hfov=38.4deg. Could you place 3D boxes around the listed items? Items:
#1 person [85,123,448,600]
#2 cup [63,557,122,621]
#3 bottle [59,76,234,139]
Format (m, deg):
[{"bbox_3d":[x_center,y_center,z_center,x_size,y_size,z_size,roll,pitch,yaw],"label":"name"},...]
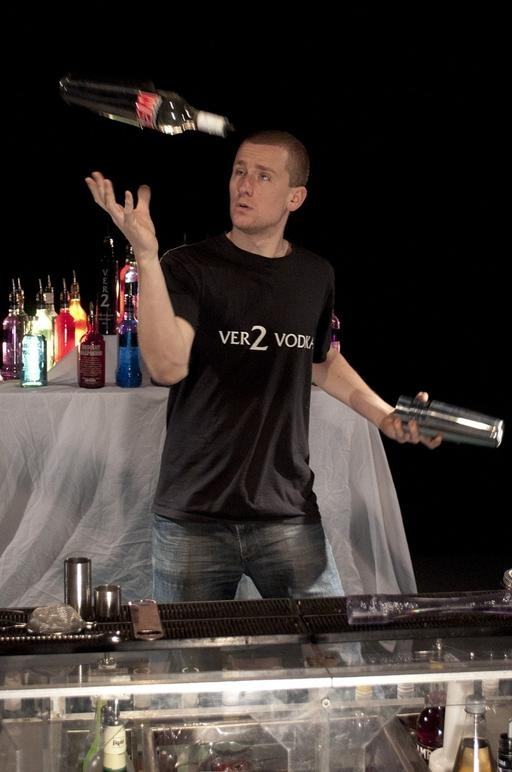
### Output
[{"bbox_3d":[0.001,-0.043,1.455,0.413,0.940,0.857,14,17,43],"label":"person"},{"bbox_3d":[-0.225,0.277,0.994,0.098,0.087,0.049,-1,2,11],"label":"cup"},{"bbox_3d":[-0.175,-0.478,1.260,0.349,0.108,0.114,9,13,27],"label":"bottle"}]
